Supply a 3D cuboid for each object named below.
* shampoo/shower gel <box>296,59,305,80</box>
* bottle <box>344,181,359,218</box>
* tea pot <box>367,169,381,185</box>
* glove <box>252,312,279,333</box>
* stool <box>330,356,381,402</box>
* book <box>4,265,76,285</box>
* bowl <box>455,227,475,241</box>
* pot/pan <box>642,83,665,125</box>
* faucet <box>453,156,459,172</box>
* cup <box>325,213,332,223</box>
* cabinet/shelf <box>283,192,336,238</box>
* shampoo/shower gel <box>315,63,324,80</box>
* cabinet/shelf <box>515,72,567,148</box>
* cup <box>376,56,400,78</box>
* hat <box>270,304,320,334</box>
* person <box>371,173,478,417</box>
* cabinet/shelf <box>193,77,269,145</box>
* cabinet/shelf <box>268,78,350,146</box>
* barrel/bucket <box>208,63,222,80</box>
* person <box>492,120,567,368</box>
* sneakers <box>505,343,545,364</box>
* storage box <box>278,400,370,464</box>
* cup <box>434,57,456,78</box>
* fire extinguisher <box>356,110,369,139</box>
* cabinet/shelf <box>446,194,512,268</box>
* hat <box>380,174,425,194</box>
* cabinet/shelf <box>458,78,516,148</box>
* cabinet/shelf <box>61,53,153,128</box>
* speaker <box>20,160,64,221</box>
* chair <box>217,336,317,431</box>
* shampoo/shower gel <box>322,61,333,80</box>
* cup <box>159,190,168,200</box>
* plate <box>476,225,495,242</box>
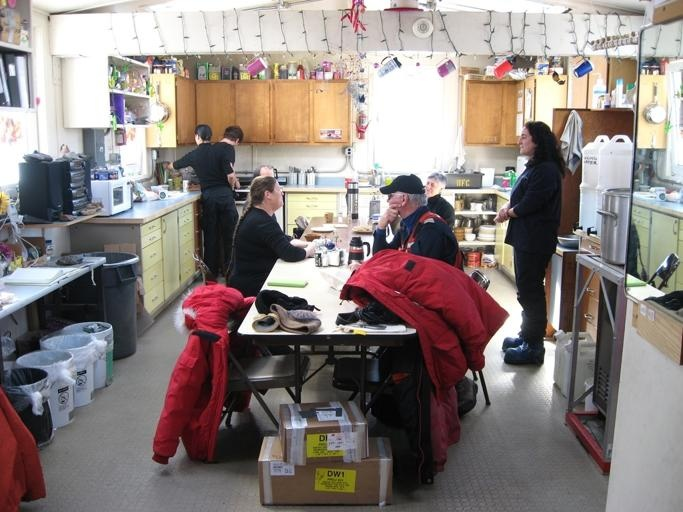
[{"bbox_3d":[-0.622,-2.872,8.122,0.117,0.241,0.221,-1,13,-5],"label":"shampoo/shower gel"},{"bbox_3d":[0.136,-0.673,6.290,0.129,0.446,0.186,-2,13,-7],"label":"bottle"},{"bbox_3d":[0.524,-1.258,8.366,0.183,0.370,0.191,0,17,0],"label":"tea pot"},{"bbox_3d":[-0.420,0.369,2.914,0.149,0.079,0.119,-3,14,-13],"label":"glove"},{"bbox_3d":[0.086,0.747,3.322,0.288,0.346,0.263,4,2,-9],"label":"stool"},{"bbox_3d":[-2.207,0.128,3.829,0.357,0.061,0.408,1,14,2],"label":"book"},{"bbox_3d":[1.872,-0.346,7.964,0.262,0.187,0.193,-4,9,-21],"label":"bowl"},{"bbox_3d":[1.137,-0.552,1.896,0.072,0.166,0.037,5,-2,4],"label":"pot/pan"},{"bbox_3d":[1.834,-1.479,8.324,0.090,0.229,0.270,2,14,8],"label":"faucet"},{"bbox_3d":[-0.144,-0.456,6.186,0.073,0.113,0.116,0,5,0],"label":"cup"},{"bbox_3d":[-0.487,-0.694,8.603,0.864,0.650,0.906,0,-3,-4],"label":"cabinet/shelf"},{"bbox_3d":[-0.339,-2.874,8.144,0.124,0.233,0.256,0,13,-2],"label":"shampoo/shower gel"},{"bbox_3d":[2.823,-2.111,7.548,0.608,0.914,0.635,16,13,14],"label":"cabinet/shelf"},{"bbox_3d":[0.539,-2.176,5.974,0.221,0.212,0.387,1,14,4],"label":"cup"},{"bbox_3d":[-0.251,0.359,2.929,0.175,0.059,0.184,10,9,0],"label":"hat"},{"bbox_3d":[0.552,0.329,3.797,0.817,1.828,0.662,1,7,33],"label":"person"},{"bbox_3d":[-1.680,-2.260,7.923,1.215,1.109,0.410,0,6,0],"label":"cabinet/shelf"},{"bbox_3d":[-0.508,-2.295,8.119,0.894,0.722,0.329,0,6,-1],"label":"cabinet/shelf"},{"bbox_3d":[-1.964,-2.865,8.121,0.191,0.367,0.189,2,21,-1],"label":"barrel/bucket"},{"bbox_3d":[1.636,-0.104,4.610,0.476,2.100,0.497,5,14,22],"label":"person"},{"bbox_3d":[1.622,0.862,4.720,0.329,0.227,0.170,3,6,7],"label":"sneakers"},{"bbox_3d":[-0.117,0.987,2.944,0.449,0.239,0.350,0,5,-14],"label":"storage box"},{"bbox_3d":[1.171,-2.112,5.841,0.151,0.186,0.334,3,14,14],"label":"cup"},{"bbox_3d":[0.318,-2.103,8.385,0.179,0.439,0.123,0,13,-2],"label":"fire extinguisher"},{"bbox_3d":[1.829,-0.315,6.926,0.973,1.000,0.527,-1,8,2],"label":"cabinet/shelf"},{"bbox_3d":[0.433,-0.491,3.678,0.221,0.117,0.159,3,9,11],"label":"hat"},{"bbox_3d":[2.276,-2.237,8.078,0.939,1.057,0.352,0,11,2],"label":"cabinet/shelf"},{"bbox_3d":[-2.663,-1.896,6.060,0.656,0.805,1.719,-2,14,-10],"label":"cabinet/shelf"},{"bbox_3d":[-2.578,-0.611,4.506,0.321,0.546,0.333,-4,-7,-26],"label":"speaker"},{"bbox_3d":[-0.426,0.777,3.542,0.626,0.877,0.476,-1,9,-2],"label":"chair"},{"bbox_3d":[-0.209,-2.896,8.118,0.154,0.288,0.215,0,13,-2],"label":"shampoo/shower gel"},{"bbox_3d":[-2.264,-0.790,6.670,0.097,0.093,0.275,-4,14,-18],"label":"cup"},{"bbox_3d":[2.174,-0.361,7.900,0.218,0.175,0.225,8,13,33],"label":"plate"}]
